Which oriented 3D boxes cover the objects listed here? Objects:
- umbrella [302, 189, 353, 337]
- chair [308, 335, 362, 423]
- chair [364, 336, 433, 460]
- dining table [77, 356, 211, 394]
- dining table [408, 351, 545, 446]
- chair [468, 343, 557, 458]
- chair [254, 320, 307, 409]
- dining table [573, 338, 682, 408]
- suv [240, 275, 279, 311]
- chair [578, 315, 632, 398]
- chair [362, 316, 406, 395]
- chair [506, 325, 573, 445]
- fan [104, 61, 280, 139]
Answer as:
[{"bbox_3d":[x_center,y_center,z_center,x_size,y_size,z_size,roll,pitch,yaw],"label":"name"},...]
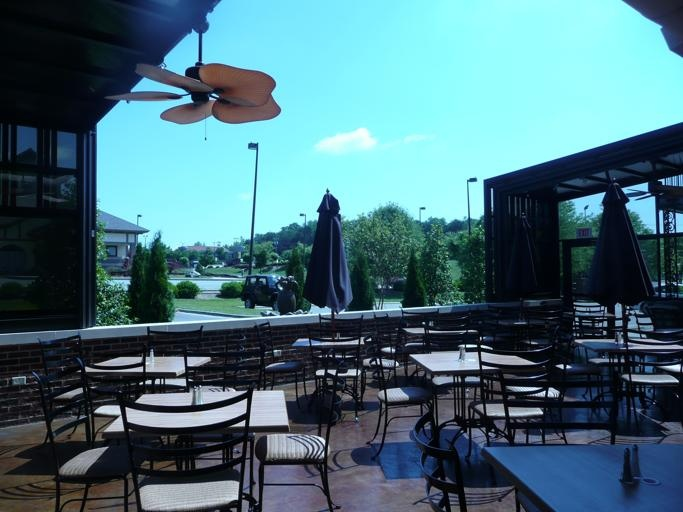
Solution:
[{"bbox_3d":[-0.241,-0.041,9.910,0.732,2.070,0.681,-2,-2,0],"label":"umbrella"},{"bbox_3d":[0.054,1.605,8.784,0.616,0.897,0.572,-2,3,8],"label":"chair"},{"bbox_3d":[0.821,1.789,8.217,0.789,1.339,0.764,-4,3,11],"label":"chair"},{"bbox_3d":[-2.523,1.426,7.852,0.865,0.238,0.987,0,0,-4],"label":"dining table"},{"bbox_3d":[1.663,1.647,7.714,1.420,0.846,1.407,1,1,-8],"label":"dining table"},{"bbox_3d":[2.204,1.755,7.491,0.690,1.189,0.773,-8,9,18],"label":"chair"},{"bbox_3d":[-0.906,1.677,9.564,0.755,1.154,0.659,-2,-2,12],"label":"chair"},{"bbox_3d":[4.327,1.521,8.896,1.413,0.852,1.399,-2,5,-16],"label":"dining table"},{"bbox_3d":[-2.948,1.507,25.777,2.481,1.437,1.438,-3,-5,37],"label":"suv"},{"bbox_3d":[4.031,1.524,9.421,0.885,0.984,1.301,-3,4,0],"label":"chair"},{"bbox_3d":[0.697,1.668,10.112,0.783,1.000,0.817,-5,13,-10],"label":"chair"},{"bbox_3d":[2.233,1.749,7.423,0.711,1.222,0.779,-7,1,5],"label":"chair"},{"bbox_3d":[-1.719,-2.187,8.437,1.695,0.403,1.697,-2,-2,-2],"label":"fan"}]
